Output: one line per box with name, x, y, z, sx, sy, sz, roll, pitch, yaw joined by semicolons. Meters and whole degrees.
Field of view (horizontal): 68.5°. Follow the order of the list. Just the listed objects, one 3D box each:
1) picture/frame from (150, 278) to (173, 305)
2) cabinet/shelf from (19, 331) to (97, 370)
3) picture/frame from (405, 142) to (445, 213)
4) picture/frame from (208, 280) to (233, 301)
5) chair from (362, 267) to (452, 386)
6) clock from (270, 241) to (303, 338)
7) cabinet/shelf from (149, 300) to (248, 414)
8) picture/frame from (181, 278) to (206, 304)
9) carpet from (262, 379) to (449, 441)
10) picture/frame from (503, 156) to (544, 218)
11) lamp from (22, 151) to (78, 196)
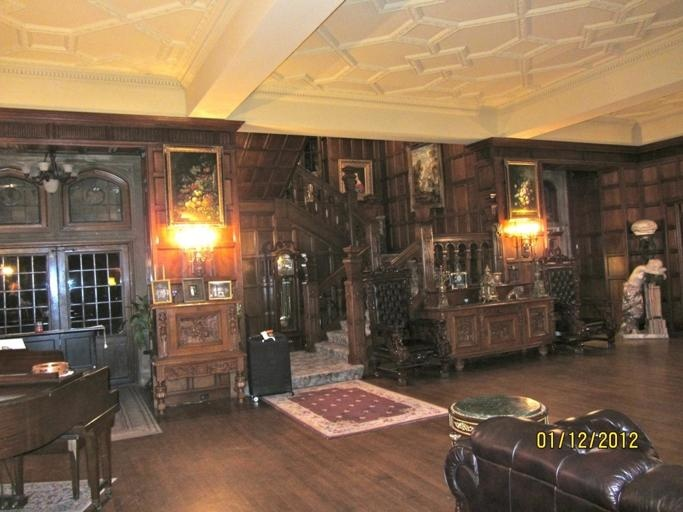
picture/frame;-2.462;0.482;6.841;0.259;0.273;0.274;-5;-1;-18
cabinet/shelf;-3.186;1.046;5.619;0.718;0.601;0.290;-1;-1;-33
picture/frame;1.847;-1.839;11.331;0.182;1.496;1.198;-5;-1;-27
picture/frame;-1.740;0.494;7.112;0.294;0.219;0.038;-1;-4;-17
chair;0.977;1.034;7.926;1.224;1.722;0.991;-5;-1;-11
clock;-1.005;0.668;9.681;0.676;1.727;0.236;-4;-2;-39
cabinet/shelf;-1.986;1.379;6.831;1.575;1.618;0.922;-1;-5;-25
picture/frame;-2.086;0.487;6.982;0.364;0.386;0.042;0;-10;-26
carpet;0.130;1.897;6.387;1.637;0.073;2.043;-4;0;-30
picture/frame;3.385;-1.317;9.492;1.248;1.250;0.093;-6;-1;-29
lamp;-4.230;-1.209;7.390;0.780;0.599;0.685;1;5;-8
